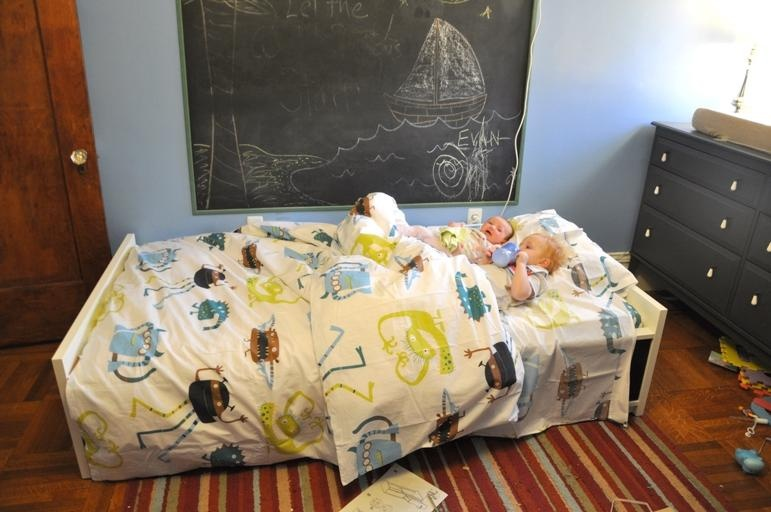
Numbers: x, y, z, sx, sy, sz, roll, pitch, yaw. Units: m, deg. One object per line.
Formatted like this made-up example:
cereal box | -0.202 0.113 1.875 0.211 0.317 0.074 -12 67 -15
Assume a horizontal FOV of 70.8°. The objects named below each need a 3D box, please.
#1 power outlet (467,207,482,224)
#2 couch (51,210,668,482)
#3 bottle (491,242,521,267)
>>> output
power outlet | 0.576 -0.271 3.547 0.124 0.170 0.017 0 38 -3
couch | -0.135 0.424 2.701 2.631 0.919 1.108 -5 26 -15
bottle | 0.623 -0.004 2.797 0.081 0.079 0.127 -24 6 41
